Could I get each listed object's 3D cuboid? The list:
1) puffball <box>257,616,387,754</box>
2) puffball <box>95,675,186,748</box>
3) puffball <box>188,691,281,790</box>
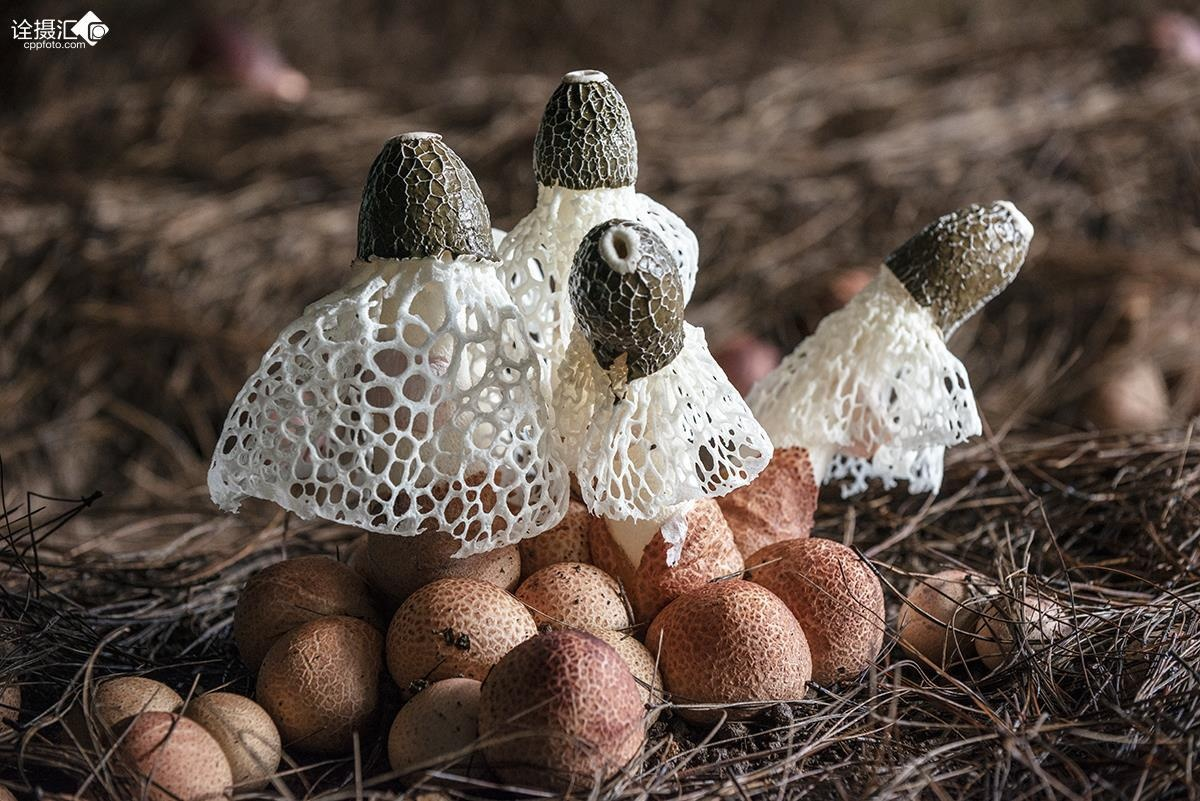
[{"bbox_3d":[-0.368,0.370,1.558,0.178,0.104,0.149,-19,69,-10],"label":"puffball"},{"bbox_3d":[-0.605,0.400,1.565,0.088,0.067,0.076,10,17,35],"label":"puffball"},{"bbox_3d":[-0.465,0.429,1.527,0.118,0.066,0.103,37,39,13],"label":"puffball"}]
